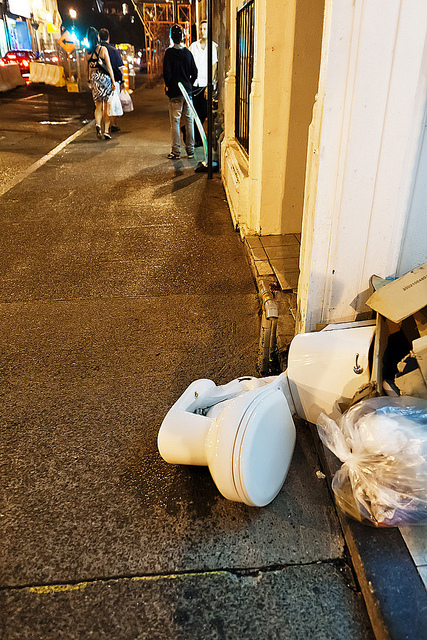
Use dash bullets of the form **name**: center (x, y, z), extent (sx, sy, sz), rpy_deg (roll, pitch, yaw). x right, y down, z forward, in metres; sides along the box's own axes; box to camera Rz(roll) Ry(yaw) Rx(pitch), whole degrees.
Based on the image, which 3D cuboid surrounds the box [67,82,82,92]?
- **box**: center (-6.190, -10.363, 19.156), extent (0.454, 0.313, 0.482), rpy_deg (-13, 42, -19)

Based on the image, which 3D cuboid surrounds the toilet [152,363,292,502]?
- **toilet**: center (0.086, 0.341, 1.651), extent (0.385, 0.281, 0.537), rpy_deg (5, 22, 23)

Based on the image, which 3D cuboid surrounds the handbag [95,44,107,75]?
- **handbag**: center (-2.208, -4.993, 8.394), extent (0.284, 0.329, 0.212), rpy_deg (-4, 25, -38)

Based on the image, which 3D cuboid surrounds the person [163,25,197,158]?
- **person**: center (-0.585, -3.950, 7.672), extent (0.488, 2.121, 0.857), rpy_deg (7, 30, 14)
